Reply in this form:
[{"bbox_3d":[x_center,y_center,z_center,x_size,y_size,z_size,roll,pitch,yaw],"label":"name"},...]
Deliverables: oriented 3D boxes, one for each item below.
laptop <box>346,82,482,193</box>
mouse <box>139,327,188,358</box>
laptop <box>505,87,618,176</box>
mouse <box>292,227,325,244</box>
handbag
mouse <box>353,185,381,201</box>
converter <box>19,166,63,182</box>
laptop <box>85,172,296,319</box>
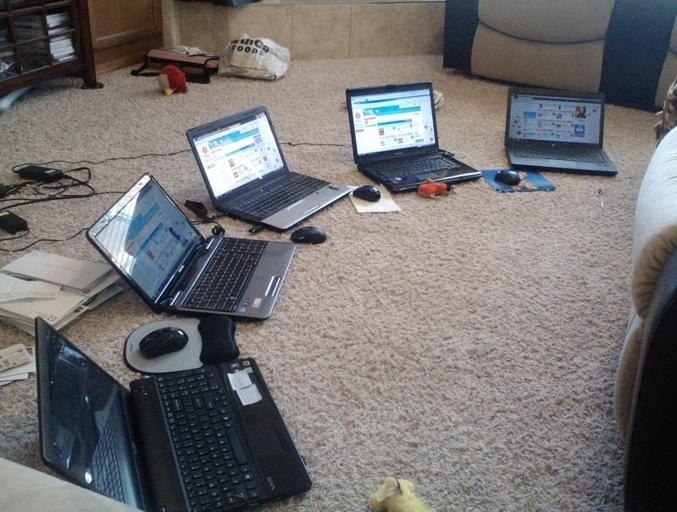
[{"bbox_3d":[0.328,-0.510,2.320,0.476,0.314,0.404,-15,38,-26],"label":"laptop"},{"bbox_3d":[-0.454,0.225,1.415,0.113,0.036,0.069,-7,39,-9],"label":"mouse"},{"bbox_3d":[1.022,-0.574,2.488,0.471,0.273,0.321,2,35,3],"label":"laptop"},{"bbox_3d":[-0.113,-0.073,1.930,0.096,0.028,0.062,3,35,10],"label":"mouse"},{"bbox_3d":[-1.099,-1.311,3.679,0.449,0.123,0.315,9,40,7],"label":"handbag"},{"bbox_3d":[0.116,-0.252,2.213,0.105,0.037,0.054,16,44,22],"label":"mouse"},{"bbox_3d":[-1.251,-0.336,2.289,0.154,0.042,0.078,5,28,8],"label":"converter"},{"bbox_3d":[-0.423,0.012,1.634,0.528,0.275,0.446,3,40,7],"label":"laptop"}]
